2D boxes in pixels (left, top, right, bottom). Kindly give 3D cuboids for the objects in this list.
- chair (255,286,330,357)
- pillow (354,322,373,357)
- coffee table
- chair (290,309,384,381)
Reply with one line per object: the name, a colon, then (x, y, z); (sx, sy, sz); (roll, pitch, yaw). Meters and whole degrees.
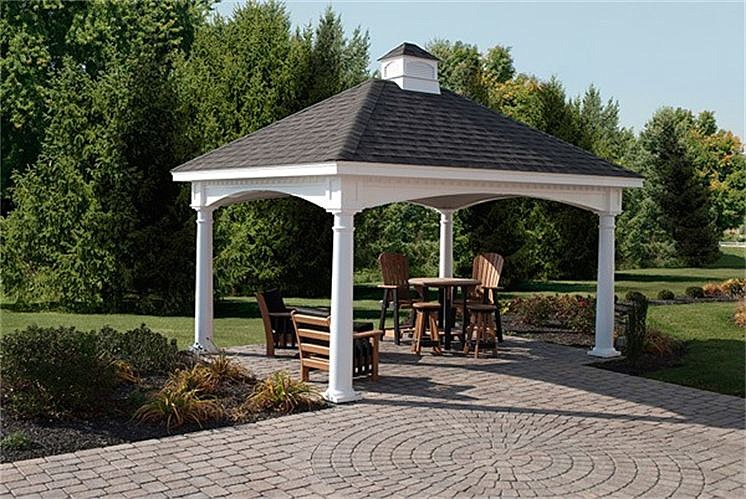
chair: (-2.083, 1.880, 19.673); (1.963, 1.611, 1.543); (0, 3, -5)
pillow: (-0.269, 2.080, 17.320); (0.573, 0.692, 0.605); (0, 0, 43)
coffee table: (1.759, 1.604, 20.036); (1.698, 1.418, 1.588); (2, 1, 25)
chair: (-0.848, 2.251, 17.334); (1.526, 1.471, 1.747); (0, -4, 38)
